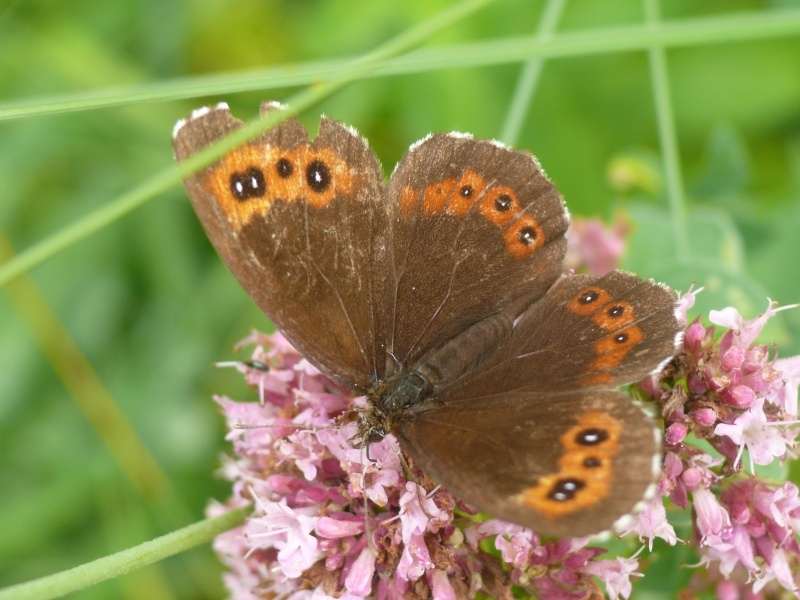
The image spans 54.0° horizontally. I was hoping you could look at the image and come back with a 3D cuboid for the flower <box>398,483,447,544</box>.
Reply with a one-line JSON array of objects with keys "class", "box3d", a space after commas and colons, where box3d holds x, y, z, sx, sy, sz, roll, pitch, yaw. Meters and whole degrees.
[{"class": "flower", "box3d": [0.080, 0.826, 3.058, 0.221, 0.100, 0.215, 8, 64, -19]}]
